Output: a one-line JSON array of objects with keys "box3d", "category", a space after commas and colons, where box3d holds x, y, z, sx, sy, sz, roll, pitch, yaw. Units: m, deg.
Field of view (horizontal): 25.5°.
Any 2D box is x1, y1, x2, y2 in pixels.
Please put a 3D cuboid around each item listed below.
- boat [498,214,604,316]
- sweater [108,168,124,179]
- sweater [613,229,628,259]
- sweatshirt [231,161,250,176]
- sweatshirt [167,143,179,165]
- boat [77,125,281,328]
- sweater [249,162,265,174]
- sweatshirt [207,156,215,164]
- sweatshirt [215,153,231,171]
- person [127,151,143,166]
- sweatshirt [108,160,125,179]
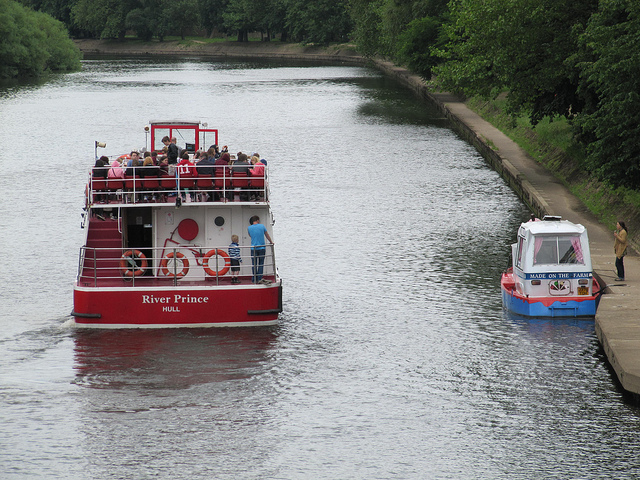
[{"box3d": [8.581, 1.036, 52.459, 3.297, 3.041, 3.116, -5, 21, -11], "category": "boat"}, {"box3d": [-7.373, -2.432, 51.582, 0.649, 0.530, 0.319, 2, 15, 5], "category": "sweater"}, {"box3d": [11.326, 0.150, 53.062, 0.352, 0.943, 0.726, 1, 22, 5], "category": "sweater"}, {"box3d": [-2.841, -2.600, 51.835, 0.560, 0.429, 0.548, 1, 15, -1], "category": "sweatshirt"}, {"box3d": [-5.731, -3.342, 55.292, 0.393, 0.596, 1.024, -3, 20, -5], "category": "sweatshirt"}, {"box3d": [-5.281, -0.510, 53.336, 7.189, 5.572, 7.297, -2, 21, -4], "category": "boat"}, {"box3d": [-2.235, -2.571, 51.619, 0.486, 0.169, 0.332, -3, -15, -4], "category": "sweater"}, {"box3d": [-4.052, -2.945, 52.930, 0.356, 0.158, 0.466, 1, 3, -6], "category": "sweatshirt"}, {"box3d": [-3.649, -2.828, 52.256, 0.500, 0.605, 0.678, 0, 3, -37], "category": "sweatshirt"}, {"box3d": [-6.807, -2.948, 52.521, 0.590, 0.294, 0.720, 1, 11, -4], "category": "person"}, {"box3d": [-7.418, -2.483, 51.743, 0.597, 0.908, 0.592, 1, 28, -3], "category": "sweatshirt"}]
